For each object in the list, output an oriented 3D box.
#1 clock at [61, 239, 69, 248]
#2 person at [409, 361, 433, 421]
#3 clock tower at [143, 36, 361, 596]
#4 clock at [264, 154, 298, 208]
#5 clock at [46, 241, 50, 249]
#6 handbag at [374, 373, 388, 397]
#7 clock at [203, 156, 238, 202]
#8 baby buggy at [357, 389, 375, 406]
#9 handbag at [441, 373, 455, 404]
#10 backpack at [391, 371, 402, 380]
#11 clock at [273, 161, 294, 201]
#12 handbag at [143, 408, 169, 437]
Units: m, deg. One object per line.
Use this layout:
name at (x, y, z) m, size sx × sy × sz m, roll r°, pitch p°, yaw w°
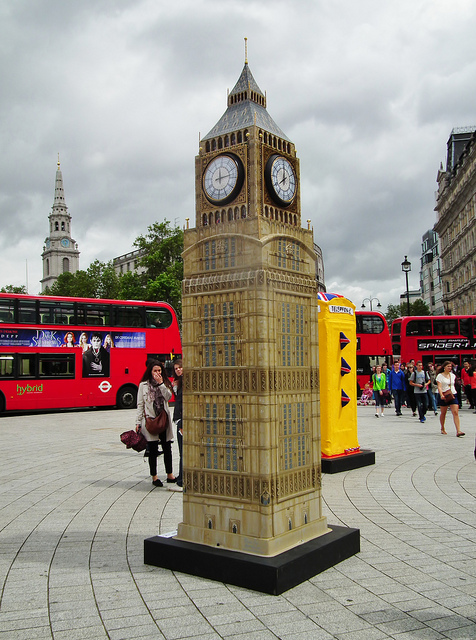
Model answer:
clock at (-32.764, -14.458, 127.437) m, size 1.832 × 1.867 × 0.261 m, roll -3°, pitch 38°, yaw 12°
person at (4.907, 1.971, 18.285) m, size 0.468 × 1.175 × 1.480 m, roll -4°, pitch -2°, yaw 15°
clock tower at (0.038, -0.148, 5.259) m, size 1.407 × 4.200 × 1.101 m, roll -3°, pitch -2°, yaw -8°
clock at (0.384, -1.141, 5.510) m, size 0.051 × 0.499 × 0.518 m, roll -17°, pitch 31°, yaw -29°
clock at (-36.200, -14.234, 128.797) m, size 0.297 × 1.615 × 1.620 m, roll -2°, pitch -2°, yaw -25°
handbag at (5.018, 2.292, 23.096) m, size 0.683 × 0.904 × 0.351 m, roll 1°, pitch -5°, yaw -40°
clock at (-0.145, -1.136, 5.433) m, size 0.386 × 0.388 × 0.027 m, roll -14°, pitch 31°, yaw -37°
baby buggy at (5.042, 3.101, 26.824) m, size 0.614 × 1.002 × 0.880 m, roll 0°, pitch -11°, yaw 11°
handbag at (4.376, 1.444, 14.125) m, size 0.263 × 0.476 × 0.174 m, roll -6°, pitch -3°, yaw 44°
backpack at (4.723, 1.660, 20.001) m, size 0.249 × 0.178 × 0.648 m, roll -3°, pitch -2°, yaw -5°
clock at (0.371, -1.150, 5.544) m, size 0.037 × 0.398 × 0.395 m, roll 1°, pitch 4°, yaw 36°
handbag at (-1.059, 1.299, 8.591) m, size 0.335 × 0.389 × 0.209 m, roll -6°, pitch -6°, yaw -43°
